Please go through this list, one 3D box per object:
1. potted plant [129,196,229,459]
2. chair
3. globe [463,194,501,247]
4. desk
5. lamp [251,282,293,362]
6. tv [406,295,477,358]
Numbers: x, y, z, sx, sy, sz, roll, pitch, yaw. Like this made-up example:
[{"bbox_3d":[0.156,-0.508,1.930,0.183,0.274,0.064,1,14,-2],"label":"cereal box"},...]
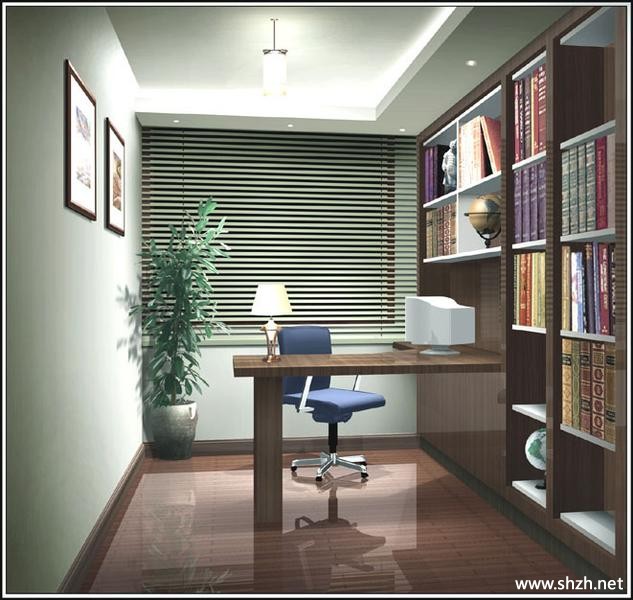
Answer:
[{"bbox_3d":[-1.048,0.199,3.942,0.707,2.109,0.759,0,-2,-12],"label":"potted plant"},{"bbox_3d":[0.097,0.695,3.581,0.614,1.045,0.609,2,-4,-43],"label":"chair"},{"bbox_3d":[1.125,-0.513,3.305,0.288,0.391,0.297,8,16,42],"label":"globe"},{"bbox_3d":[0.319,0.870,3.141,1.493,0.934,0.844,1,-8,1],"label":"desk"},{"bbox_3d":[-0.315,0.165,3.496,0.285,0.546,0.307,-2,-6,18],"label":"lamp"},{"bbox_3d":[0.789,0.152,3.252,0.256,0.394,0.369,-2,0,-36],"label":"tv"}]
